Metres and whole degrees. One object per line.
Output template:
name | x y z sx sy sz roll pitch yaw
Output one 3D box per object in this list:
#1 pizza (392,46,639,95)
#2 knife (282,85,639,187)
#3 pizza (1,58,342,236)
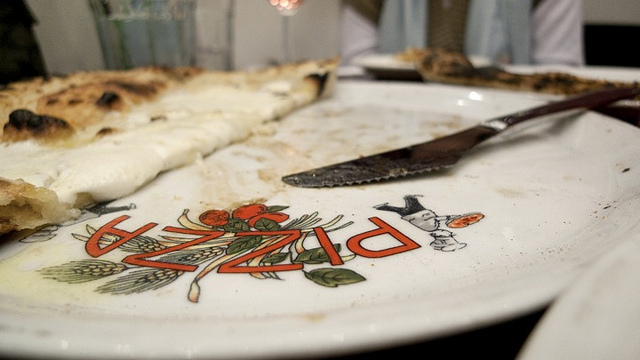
pizza | 0.442 -0.242 1.466 0.537 0.048 0.162 4 18 33
knife | 0.292 -0.087 1.168 0.736 0.123 0.105 -9 27 -15
pizza | -0.430 -0.158 1.343 0.496 0.187 0.860 14 28 33
